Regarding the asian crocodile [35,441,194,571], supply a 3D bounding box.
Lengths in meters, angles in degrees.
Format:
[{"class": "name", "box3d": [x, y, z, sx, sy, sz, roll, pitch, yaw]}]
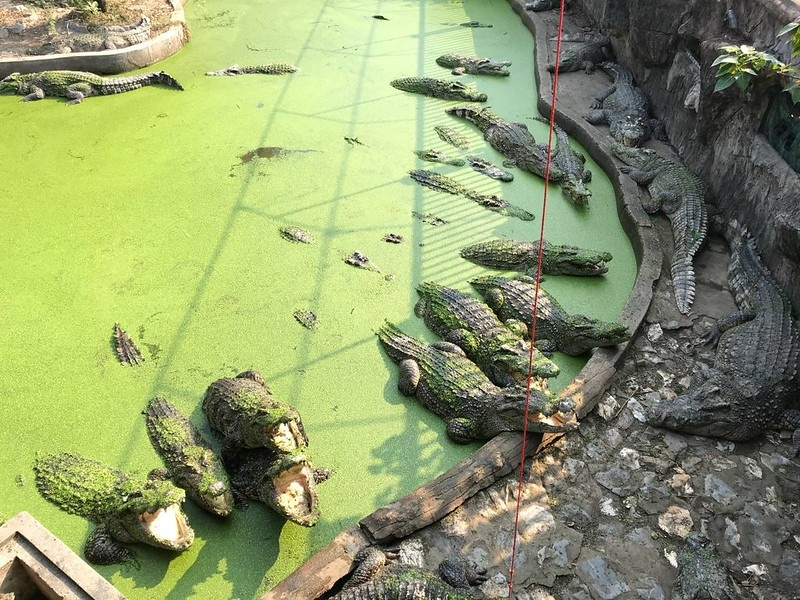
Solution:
[{"class": "asian crocodile", "box3d": [-3.007, 2.028, 8.226, 1.863, 0.698, 1.289, 24, 30, 16]}]

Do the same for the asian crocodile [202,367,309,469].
[{"class": "asian crocodile", "box3d": [-1.656, 1.272, 8.417, 0.717, 0.448, 1.158, -24, 44, -32]}]
